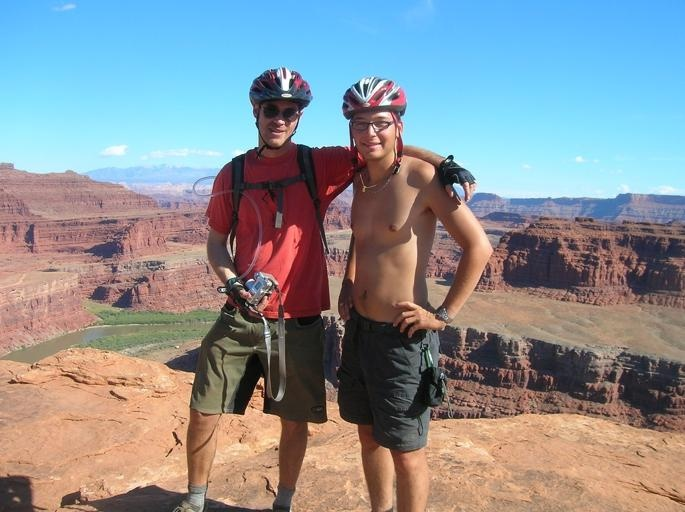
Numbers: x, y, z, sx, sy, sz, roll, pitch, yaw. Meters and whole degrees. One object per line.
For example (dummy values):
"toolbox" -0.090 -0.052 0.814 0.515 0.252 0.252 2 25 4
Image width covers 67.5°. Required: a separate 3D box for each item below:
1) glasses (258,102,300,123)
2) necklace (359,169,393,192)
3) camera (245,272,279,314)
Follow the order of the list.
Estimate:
"glasses" -0.621 -1.431 5.113 0.420 0.224 0.134 2 7 -5
"necklace" 0.300 -0.714 4.913 0.257 0.178 0.075 10 -30 44
"camera" -0.794 0.352 4.948 0.319 0.374 0.128 3 7 -1
